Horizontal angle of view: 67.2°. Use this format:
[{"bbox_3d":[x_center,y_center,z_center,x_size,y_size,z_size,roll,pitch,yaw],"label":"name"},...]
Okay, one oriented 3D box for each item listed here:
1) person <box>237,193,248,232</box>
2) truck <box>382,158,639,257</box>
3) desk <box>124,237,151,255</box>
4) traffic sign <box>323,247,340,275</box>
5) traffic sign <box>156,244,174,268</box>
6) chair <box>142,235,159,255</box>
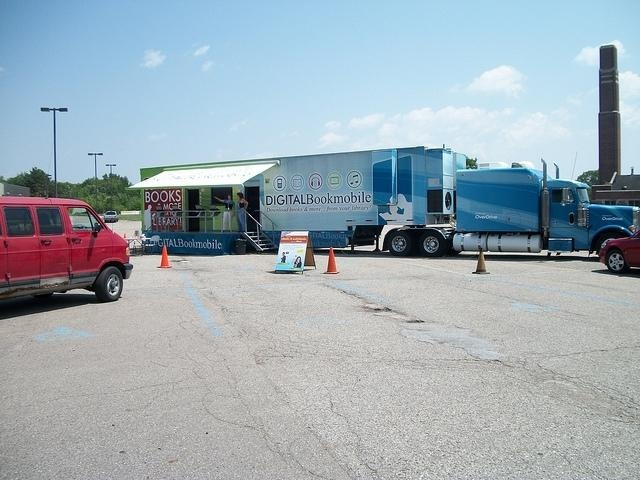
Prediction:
[{"bbox_3d":[-4.358,-1.541,26.665,0.489,2.209,0.881,0,3,0],"label":"person"},{"bbox_3d":[7.808,-1.250,21.591,11.011,5.265,3.925,-3,0,28],"label":"truck"},{"bbox_3d":[-9.706,0.311,25.667,0.824,0.665,0.501,3,5,33],"label":"desk"},{"bbox_3d":[0.291,0.704,17.082,0.633,1.119,0.690,6,9,42],"label":"traffic sign"},{"bbox_3d":[-7.616,0.776,23.429,0.634,1.074,0.734,-1,10,-10],"label":"traffic sign"},{"bbox_3d":[-10.026,0.233,28.510,0.850,1.264,1.029,0,-7,9],"label":"chair"}]
